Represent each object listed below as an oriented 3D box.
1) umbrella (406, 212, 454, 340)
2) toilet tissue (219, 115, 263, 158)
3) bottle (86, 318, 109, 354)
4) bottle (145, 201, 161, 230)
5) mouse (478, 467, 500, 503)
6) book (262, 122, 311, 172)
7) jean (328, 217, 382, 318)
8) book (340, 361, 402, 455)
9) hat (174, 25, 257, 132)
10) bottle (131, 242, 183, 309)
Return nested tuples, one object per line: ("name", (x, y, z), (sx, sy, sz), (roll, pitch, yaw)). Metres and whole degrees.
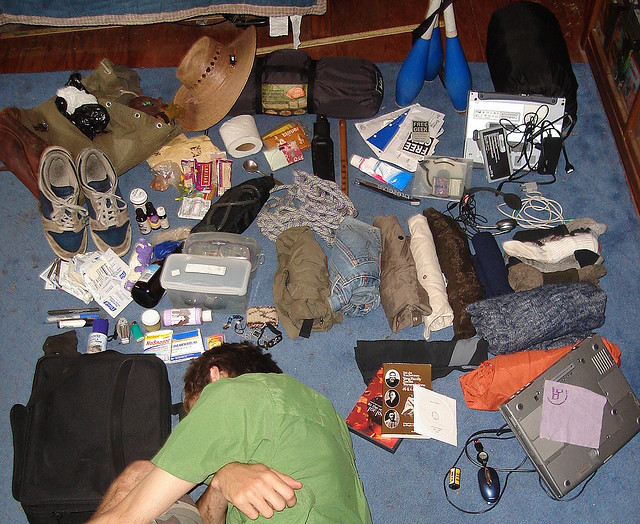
("umbrella", (0.610, 0.034, 3.339), (0.167, 0.170, 0.746), (-14, 54, 11))
("toilet tissue", (-0.494, -0.783, 3.767), (0.248, 0.189, 0.256), (-19, 60, 1))
("bottle", (-1.202, 0.407, 3.203), (0.065, 0.067, 0.174), (14, 44, -22))
("bottle", (-0.993, -0.268, 3.509), (0.059, 0.159, 0.062), (-1, 57, 2))
("mouse", (0.818, 1.069, 2.837), (0.088, 0.054, 0.156), (6, 77, -2))
("book", (-0.211, -0.720, 3.750), (0.275, 0.128, 0.234), (-15, 50, -13))
("jean", (0.213, 0.037, 3.294), (0.319, 0.172, 0.486), (4, 71, 22))
("book", (0.300, 0.809, 3.107), (0.348, 0.072, 0.365), (11, 17, 29))
("hat", (-0.634, -1.128, 3.644), (0.188, 0.596, 0.572), (25, 26, -29))
("bottle", (-0.902, 0.091, 3.289), (0.141, 0.164, 0.446), (21, 46, 7))
